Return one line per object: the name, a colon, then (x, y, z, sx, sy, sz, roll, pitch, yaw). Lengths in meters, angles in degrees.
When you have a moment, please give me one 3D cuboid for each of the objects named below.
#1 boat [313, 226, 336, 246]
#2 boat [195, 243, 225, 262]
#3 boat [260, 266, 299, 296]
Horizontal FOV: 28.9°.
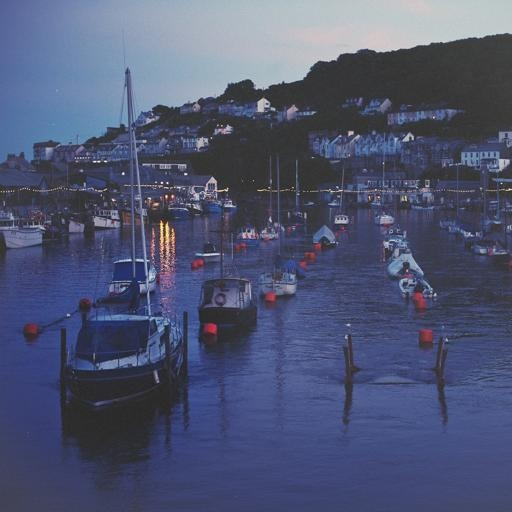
boat: (5.682, -1.683, 83.853, 1.594, 0.878, 2.542, 0, 16, 3)
boat: (-3.239, -0.136, 67.290, 1.350, 1.362, 2.988, 0, 0, -3)
boat: (1.057, 1.440, 49.657, 1.842, 1.046, 2.640, 0, 8, 2)
